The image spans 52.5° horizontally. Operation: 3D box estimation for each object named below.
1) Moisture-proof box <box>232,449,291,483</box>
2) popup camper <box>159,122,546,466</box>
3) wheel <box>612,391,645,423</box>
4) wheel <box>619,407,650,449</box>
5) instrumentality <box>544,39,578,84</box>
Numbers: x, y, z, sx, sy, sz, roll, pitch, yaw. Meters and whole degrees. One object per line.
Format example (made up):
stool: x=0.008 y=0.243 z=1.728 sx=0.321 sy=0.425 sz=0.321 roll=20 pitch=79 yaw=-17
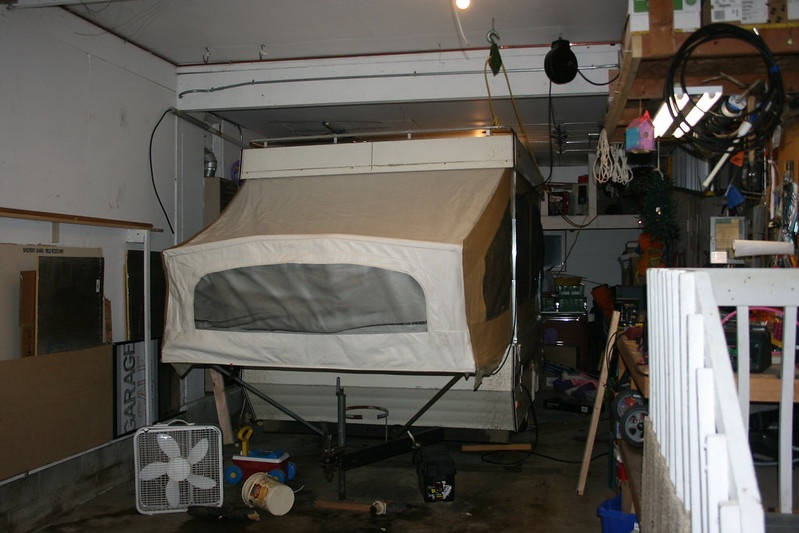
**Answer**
Moisture-proof box: x=-1.386 y=1.969 z=7.986 sx=0.452 sy=0.262 sz=0.340 roll=3 pitch=-2 yaw=4
popup camper: x=0.117 y=0.272 z=9.508 sx=3.525 sy=3.462 sz=5.132 roll=-1 pitch=-1 yaw=30
wheel: x=2.034 y=1.254 z=7.197 sx=0.353 sy=0.372 sz=0.152 roll=-2 pitch=-2 yaw=4
wheel: x=2.026 y=1.394 z=7.067 sx=0.216 sy=0.360 sz=0.198 roll=-1 pitch=12 yaw=0
instrumentality: x=1.660 y=-2.132 z=8.418 sx=0.345 sy=0.452 sz=0.214 roll=-3 pitch=12 yaw=-6
